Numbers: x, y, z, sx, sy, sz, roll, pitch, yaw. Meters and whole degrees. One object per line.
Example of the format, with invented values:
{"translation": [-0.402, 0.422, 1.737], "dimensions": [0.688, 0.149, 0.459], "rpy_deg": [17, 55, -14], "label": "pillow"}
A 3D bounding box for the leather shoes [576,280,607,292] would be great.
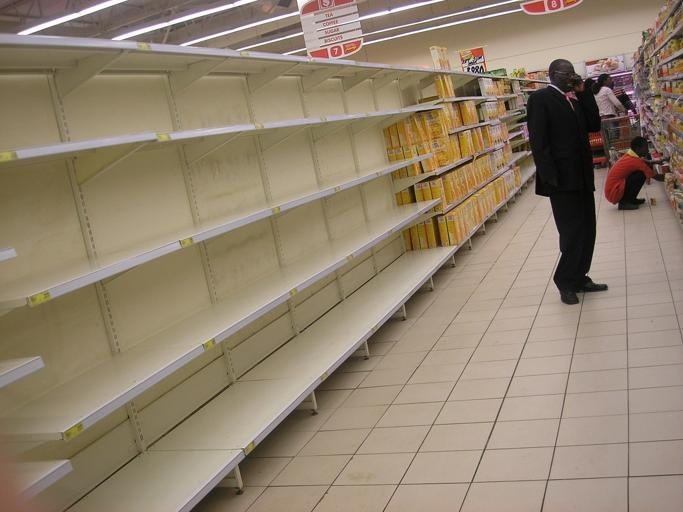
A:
{"translation": [2.396, 0.301, 4.450], "dimensions": [0.301, 0.129, 0.099], "rpy_deg": [-6, 8, 15], "label": "leather shoes"}

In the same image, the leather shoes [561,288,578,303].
{"translation": [2.113, 0.373, 4.375], "dimensions": [0.095, 0.145, 0.153], "rpy_deg": [-28, 7, -41], "label": "leather shoes"}

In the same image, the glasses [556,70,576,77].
{"translation": [2.031, -1.649, 4.246], "dimensions": [0.121, 0.047, 0.096], "rpy_deg": [1, 8, 30], "label": "glasses"}

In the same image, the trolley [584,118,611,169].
{"translation": [7.161, -3.036, 12.837], "dimensions": [0.661, 1.097, 1.273], "rpy_deg": [-2, 11, 41], "label": "trolley"}

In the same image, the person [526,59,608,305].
{"translation": [2.086, -0.673, 4.274], "dimensions": [0.610, 2.131, 0.740], "rpy_deg": [4, 23, 38], "label": "person"}
